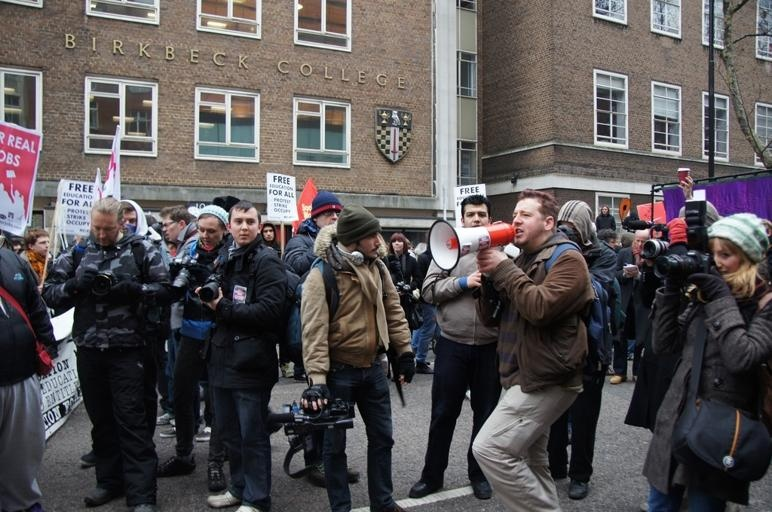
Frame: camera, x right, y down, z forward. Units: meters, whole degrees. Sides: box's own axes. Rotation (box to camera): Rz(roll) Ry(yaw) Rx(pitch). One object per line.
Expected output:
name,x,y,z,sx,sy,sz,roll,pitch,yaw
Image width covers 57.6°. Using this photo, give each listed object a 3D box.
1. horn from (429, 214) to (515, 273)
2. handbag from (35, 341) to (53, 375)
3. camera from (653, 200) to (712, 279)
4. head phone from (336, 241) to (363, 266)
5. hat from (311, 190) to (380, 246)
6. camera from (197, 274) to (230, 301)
horn,0.799,-0.111,6.523,0.811,0.430,0.509,1,0,2
handbag,-3.449,1.022,7.091,0.130,0.248,0.217,1,0,-22
camera,2.667,-0.123,6.274,0.638,0.687,0.427,-4,10,-34
head phone,-0.376,-0.023,7.067,0.234,0.138,0.207,35,7,35
hat,-0.281,-0.314,7.094,0.449,0.352,0.197,1,0,-6
camera,-1.792,0.324,7.190,0.216,0.219,0.316,1,0,4
